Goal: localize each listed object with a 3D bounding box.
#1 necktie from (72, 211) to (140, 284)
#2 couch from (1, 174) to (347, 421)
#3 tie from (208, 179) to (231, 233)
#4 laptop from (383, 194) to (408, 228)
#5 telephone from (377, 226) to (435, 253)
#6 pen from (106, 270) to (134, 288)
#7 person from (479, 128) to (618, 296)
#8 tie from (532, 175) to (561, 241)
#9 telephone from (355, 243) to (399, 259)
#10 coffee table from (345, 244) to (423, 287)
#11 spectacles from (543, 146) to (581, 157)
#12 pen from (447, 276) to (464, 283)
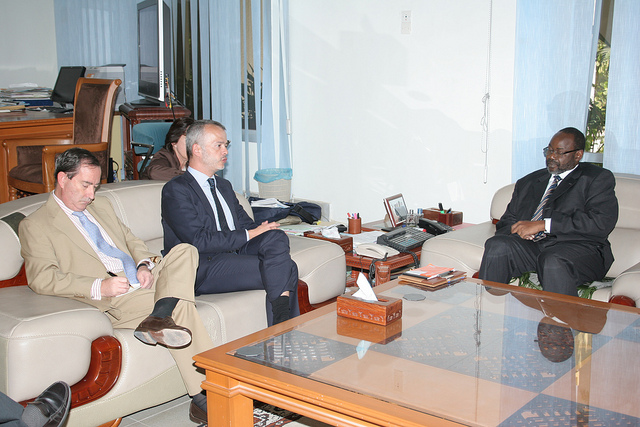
[{"bbox_3d":[-1.211,0.205,2.293,0.093,0.423,0.109,-33,12,22],"label":"necktie"},{"bbox_3d":[-0.787,0.446,2.111,0.637,0.650,1.302,9,17,42],"label":"couch"},{"bbox_3d":[-0.656,-0.040,2.759,0.097,0.397,0.035,-20,-7,-1],"label":"tie"},{"bbox_3d":[0.682,-0.014,3.678,0.031,0.315,0.324,-20,-3,37],"label":"laptop"},{"bbox_3d":[0.706,0.206,3.307,0.440,0.075,0.303,-18,21,-41],"label":"telephone"},{"bbox_3d":[-1.067,0.353,2.185,0.134,0.019,0.016,37,18,4],"label":"pen"},{"bbox_3d":[1.679,-0.043,2.924,0.767,1.096,0.782,10,17,35],"label":"person"},{"bbox_3d":[1.696,-0.019,3.058,0.088,0.523,0.073,20,-17,27],"label":"tie"},{"bbox_3d":[0.404,0.268,3.017,0.166,0.043,0.148,9,14,30],"label":"telephone"},{"bbox_3d":[0.442,0.354,2.848,0.407,0.205,0.385,16,23,41],"label":"coffee table"},{"bbox_3d":[1.779,-0.452,3.030,0.212,0.063,0.089,8,15,29],"label":"spectacles"},{"bbox_3d":[0.761,0.377,2.327,0.070,0.018,0.016,-11,28,-23],"label":"pen"}]
